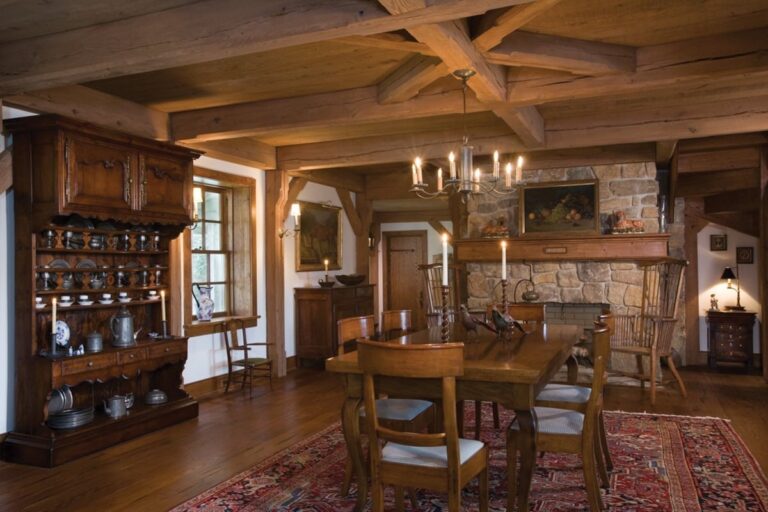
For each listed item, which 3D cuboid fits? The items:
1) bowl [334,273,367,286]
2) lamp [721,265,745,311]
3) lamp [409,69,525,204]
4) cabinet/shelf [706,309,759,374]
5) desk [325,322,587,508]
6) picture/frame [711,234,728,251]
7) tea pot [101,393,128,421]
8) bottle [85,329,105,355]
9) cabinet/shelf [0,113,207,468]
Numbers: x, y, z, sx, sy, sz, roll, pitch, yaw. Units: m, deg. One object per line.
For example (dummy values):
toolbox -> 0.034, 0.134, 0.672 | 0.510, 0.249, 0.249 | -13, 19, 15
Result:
bowl -> -0.542, 0.385, 9.024 | 0.448, 0.175, 0.586 | -1, 0, 1
lamp -> 5.237, 0.477, 8.438 | 0.283, 0.656, 0.312 | -1, 1, 27
lamp -> 0.805, -1.114, 5.355 | 1.242, 1.060, 1.103 | -1, 13, 18
cabinet/shelf -> 5.000, 1.201, 8.087 | 0.599, 0.794, 0.427 | -1, 1, 26
desk -> 0.622, 1.154, 4.122 | 1.348, 1.056, 1.901 | 0, 0, 35
picture/frame -> 5.154, -0.214, 8.623 | 0.317, 0.293, 0.048 | 0, -3, 19
tea pot -> -2.543, 1.458, 5.416 | 0.187, 0.172, 0.241 | 3, 4, 34
bottle -> -2.692, 0.819, 5.263 | 0.211, 0.229, 0.185 | 0, -4, -12
cabinet/shelf -> -2.733, 0.279, 5.395 | 0.720, 2.031, 1.532 | 0, 1, 34
